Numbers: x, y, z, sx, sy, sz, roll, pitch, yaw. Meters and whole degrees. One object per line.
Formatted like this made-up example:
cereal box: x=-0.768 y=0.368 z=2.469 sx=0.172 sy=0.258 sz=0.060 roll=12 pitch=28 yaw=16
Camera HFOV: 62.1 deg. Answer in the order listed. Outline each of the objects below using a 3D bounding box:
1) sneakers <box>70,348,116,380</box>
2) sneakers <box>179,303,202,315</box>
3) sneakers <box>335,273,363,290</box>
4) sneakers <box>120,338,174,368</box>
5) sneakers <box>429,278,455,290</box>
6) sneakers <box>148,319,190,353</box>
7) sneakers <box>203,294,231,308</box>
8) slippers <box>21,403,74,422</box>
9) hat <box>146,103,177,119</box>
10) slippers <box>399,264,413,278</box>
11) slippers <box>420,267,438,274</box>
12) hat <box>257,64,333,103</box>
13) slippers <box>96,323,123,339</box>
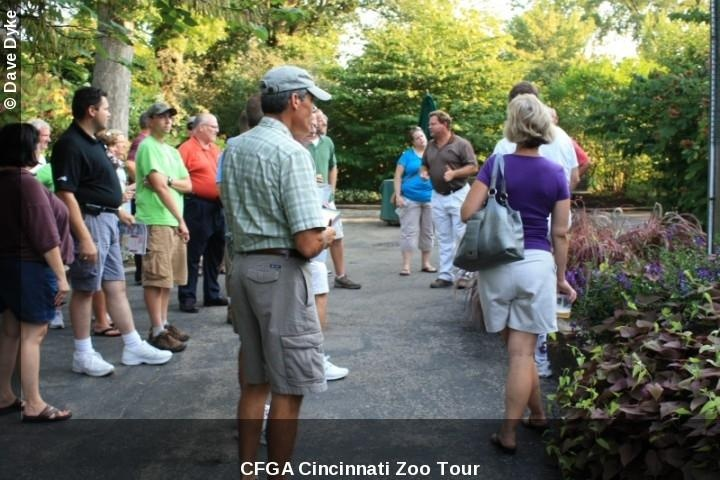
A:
sneakers: x=-2.570 y=1.186 z=5.729 sx=0.471 sy=0.198 sz=0.188 roll=5 pitch=5 yaw=12
sneakers: x=-2.216 y=0.888 z=7.810 sx=0.118 sy=0.110 sz=0.292 roll=1 pitch=-7 yaw=-37
sneakers: x=-0.128 y=0.633 z=9.015 sx=0.503 sy=0.198 sz=0.168 roll=0 pitch=3 yaw=23
sneakers: x=-2.144 y=1.144 z=5.986 sx=0.559 sy=0.235 sz=0.202 roll=1 pitch=6 yaw=-8
sneakers: x=1.209 y=0.669 z=8.851 sx=0.398 sy=0.153 sz=0.128 roll=1 pitch=1 yaw=-10
sneakers: x=-2.032 y=1.036 z=6.380 sx=0.305 sy=0.124 sz=0.356 roll=4 pitch=4 yaw=-12
sneakers: x=-1.874 y=0.836 z=8.115 sx=0.468 sy=0.181 sz=0.164 roll=-1 pitch=5 yaw=-15
slippers: x=-2.571 y=1.437 z=4.943 sx=0.306 sy=0.093 sz=0.151 roll=-2 pitch=1 yaw=-4
hat: x=-2.123 y=-1.374 z=6.409 sx=0.264 sy=0.121 sz=0.191 roll=-7 pitch=3 yaw=22
slippers: x=0.767 y=0.525 z=9.917 sx=0.154 sy=0.185 sz=0.457 roll=-1 pitch=-7 yaw=6
slippers: x=1.156 y=0.513 z=10.055 sx=0.205 sy=0.141 sz=0.096 roll=-1 pitch=3 yaw=39
hat: x=-0.454 y=-1.060 z=4.048 sx=0.420 sy=0.188 sz=0.243 roll=-7 pitch=15 yaw=-19
slippers: x=-2.898 y=1.057 z=6.913 sx=0.313 sy=0.099 sz=0.179 roll=1 pitch=1 yaw=32
